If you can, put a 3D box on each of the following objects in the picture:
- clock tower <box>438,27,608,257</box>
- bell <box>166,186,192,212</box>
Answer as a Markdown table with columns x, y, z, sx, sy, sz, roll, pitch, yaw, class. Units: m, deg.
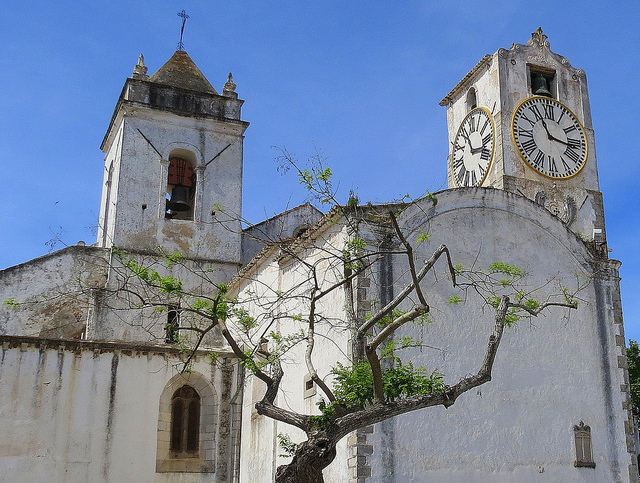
| x | y | z | sx | sy | sz | roll | pitch | yaw | class |
| --- | --- | --- | --- | --- | --- | --- | --- | --- | --- |
| 6.536 | -2.914 | 30.548 | 4.421 | 7.037 | 4.495 | -11 | -24 | 27 | clock tower |
| -4.599 | -1.441 | 31.363 | 0.807 | 0.877 | 0.789 | 1 | -40 | -2 | bell |
